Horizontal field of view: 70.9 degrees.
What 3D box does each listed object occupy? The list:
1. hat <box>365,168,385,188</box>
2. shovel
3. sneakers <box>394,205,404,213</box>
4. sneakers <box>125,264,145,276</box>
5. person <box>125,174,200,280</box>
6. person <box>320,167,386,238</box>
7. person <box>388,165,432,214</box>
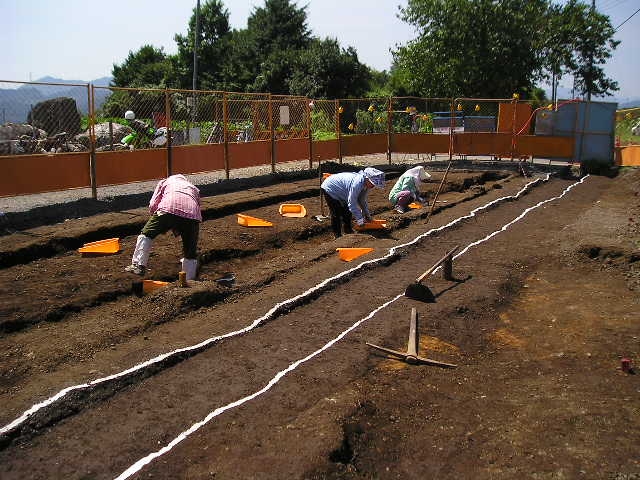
[{"bbox_3d":[1.073,-1.222,8.596,0.176,0.288,0.405,-28,31,-16],"label":"hat"},{"bbox_3d":[1.690,0.477,6.435,0.425,0.467,1.327,11,26,35],"label":"shovel"},{"bbox_3d":[1.861,-0.712,10.484,0.231,0.103,0.086,34,18,32],"label":"sneakers"},{"bbox_3d":[-2.661,0.446,6.453,0.277,0.187,0.139,-6,15,-17],"label":"sneakers"},{"bbox_3d":[-2.192,-0.103,6.581,0.956,1.450,0.873,-2,14,-1],"label":"person"},{"bbox_3d":[0.614,-0.684,8.831,0.724,1.386,1.110,-14,18,-40],"label":"person"},{"bbox_3d":[2.173,-1.253,10.738,1.052,1.059,0.919,-7,13,-39],"label":"person"}]
